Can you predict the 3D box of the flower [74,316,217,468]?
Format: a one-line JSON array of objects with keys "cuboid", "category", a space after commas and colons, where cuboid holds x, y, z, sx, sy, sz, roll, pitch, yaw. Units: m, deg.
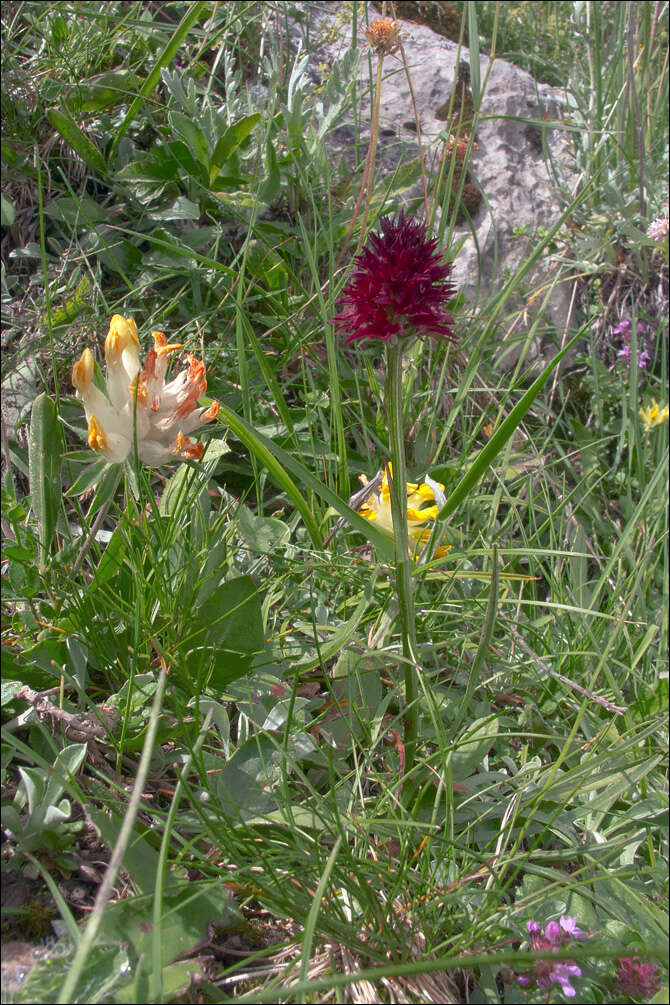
[{"cuboid": [-0.189, -0.104, 0.811, 0.144, 0.126, 0.134, -1, 21, -23], "category": "flower"}]
